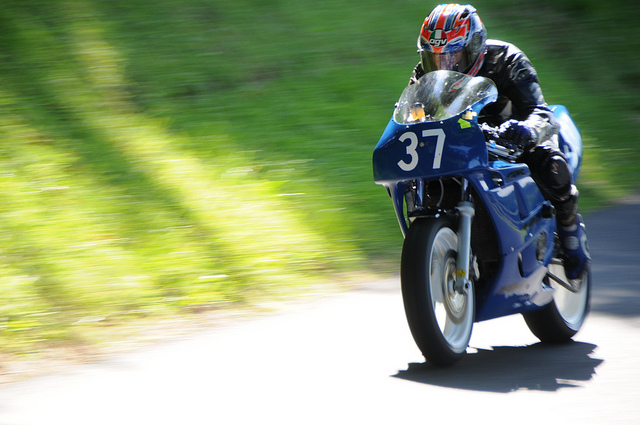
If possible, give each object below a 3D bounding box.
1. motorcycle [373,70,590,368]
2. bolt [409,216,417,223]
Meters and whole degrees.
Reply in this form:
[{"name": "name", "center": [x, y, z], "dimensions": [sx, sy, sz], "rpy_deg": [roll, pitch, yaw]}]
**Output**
[{"name": "motorcycle", "center": [1.230, 0.103, 5.713], "dimensions": [1.667, 2.274, 1.599], "rpy_deg": [5, 29, 15]}, {"name": "bolt", "center": [0.696, 0.048, 5.626], "dimensions": [0.079, 0.021, 0.077], "rpy_deg": [1, -10, 2]}]
